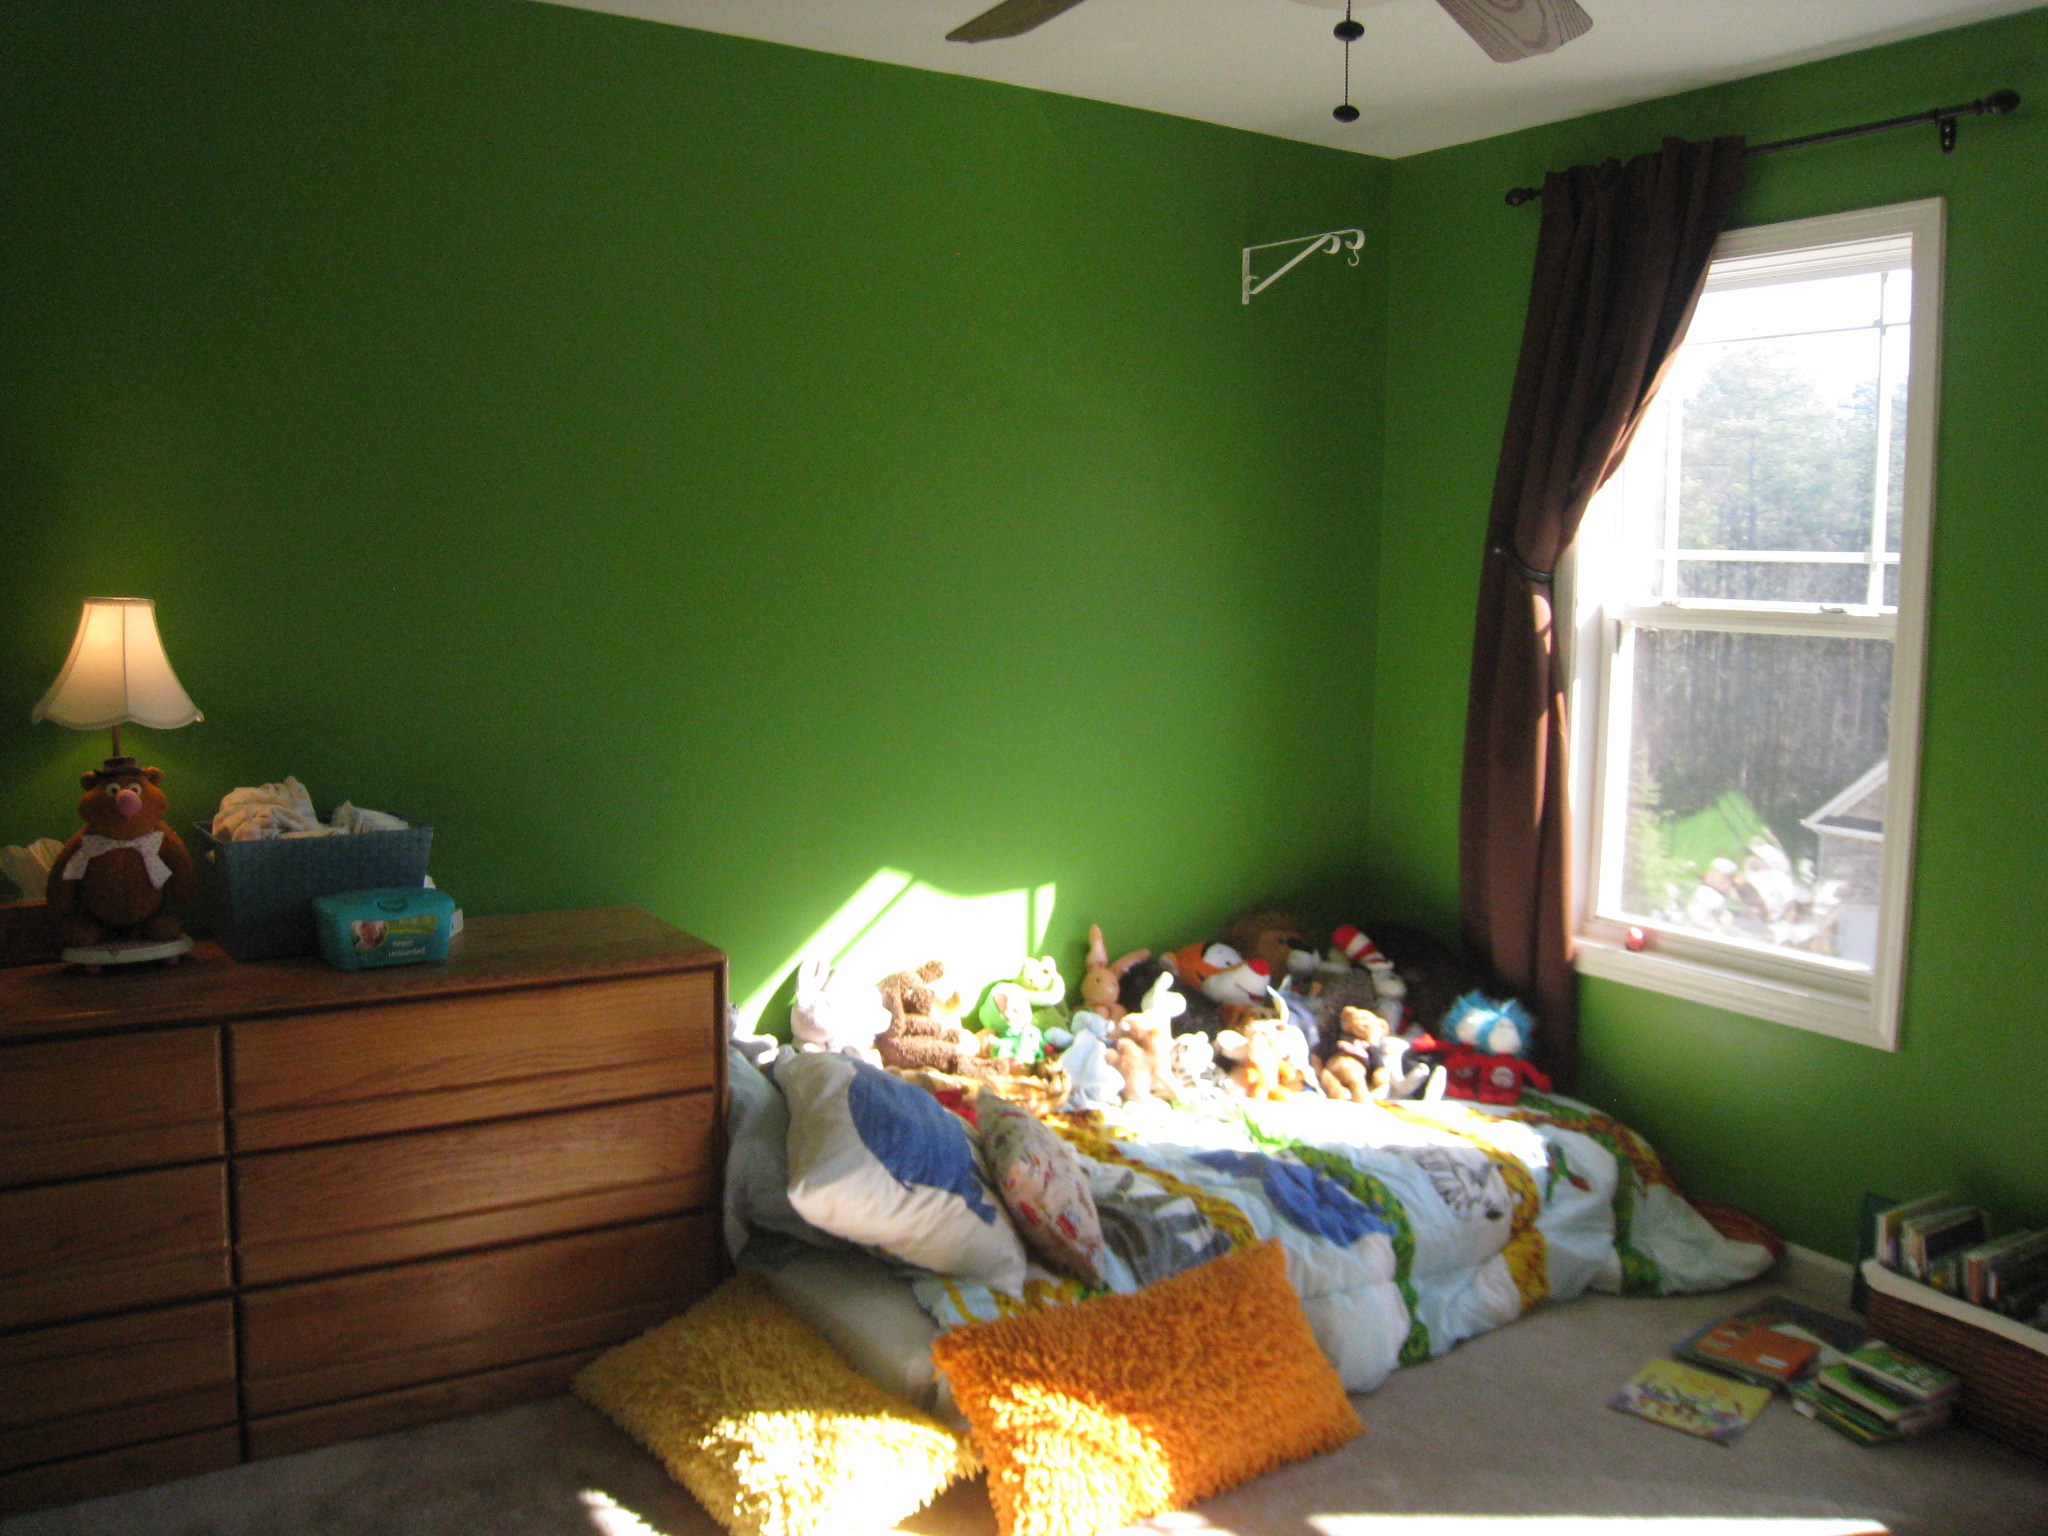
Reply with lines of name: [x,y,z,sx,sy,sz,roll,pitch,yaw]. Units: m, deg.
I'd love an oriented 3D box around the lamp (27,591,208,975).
lamp: [-1.825,0.031,3.206,0.277,0.737,0.267,-1,-3,-43]

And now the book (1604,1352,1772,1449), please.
book: [1.426,1.351,3.408,0.254,0.036,0.271,11,12,40]

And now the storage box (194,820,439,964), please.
storage box: [-1.461,0.240,3.236,0.360,0.233,0.252,-2,1,-26]

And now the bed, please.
bed: [0.753,1.039,3.666,1.494,0.355,1.025,1,0,-30]
